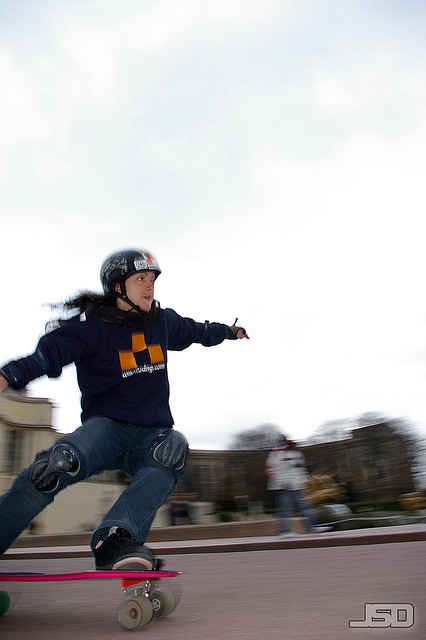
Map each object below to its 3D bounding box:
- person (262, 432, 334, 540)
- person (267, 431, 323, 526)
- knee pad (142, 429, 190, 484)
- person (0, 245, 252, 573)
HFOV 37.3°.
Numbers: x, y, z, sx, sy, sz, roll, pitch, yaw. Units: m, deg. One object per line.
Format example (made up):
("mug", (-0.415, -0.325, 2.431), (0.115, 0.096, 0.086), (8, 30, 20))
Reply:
("person", (1.043, 2.243, 8.488), (0.623, 1.408, 0.889), (-4, -8, 22))
("person", (1.030, 2.186, 8.619), (0.503, 1.265, 0.646), (-4, -8, 24))
("knee pad", (-0.193, 0.568, 2.640), (0.193, 0.210, 0.186), (1, -8, -13))
("person", (-0.465, 0.270, 2.603), (0.660, 1.280, 0.839), (-2, -8, 9))
